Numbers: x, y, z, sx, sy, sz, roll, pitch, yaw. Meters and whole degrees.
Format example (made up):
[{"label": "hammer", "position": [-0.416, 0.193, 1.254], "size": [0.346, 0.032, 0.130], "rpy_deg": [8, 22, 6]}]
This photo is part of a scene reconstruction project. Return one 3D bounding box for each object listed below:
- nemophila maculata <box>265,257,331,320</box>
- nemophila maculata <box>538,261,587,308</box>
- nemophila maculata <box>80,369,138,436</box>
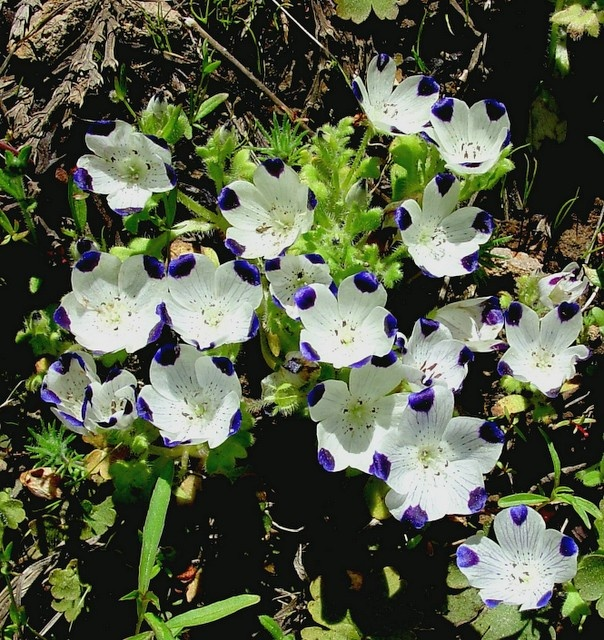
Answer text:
[{"label": "nemophila maculata", "position": [-0.009, -0.128, 2.568], "size": [0.211, 0.133, 0.225], "rpy_deg": [35, 90, 2]}, {"label": "nemophila maculata", "position": [1.038, -0.156, 2.900], "size": [0.192, 0.123, 0.178], "rpy_deg": [22, 39, 17]}, {"label": "nemophila maculata", "position": [-0.696, 0.299, 2.524], "size": [0.154, 0.107, 0.238], "rpy_deg": [-1, 87, 0]}]
